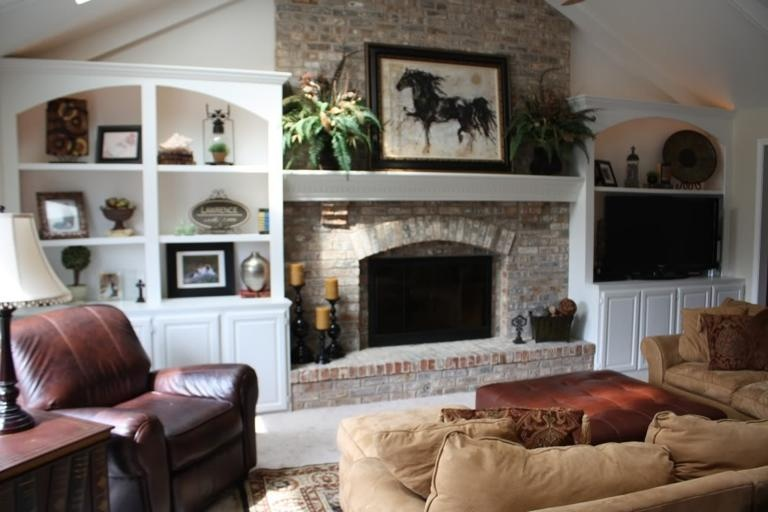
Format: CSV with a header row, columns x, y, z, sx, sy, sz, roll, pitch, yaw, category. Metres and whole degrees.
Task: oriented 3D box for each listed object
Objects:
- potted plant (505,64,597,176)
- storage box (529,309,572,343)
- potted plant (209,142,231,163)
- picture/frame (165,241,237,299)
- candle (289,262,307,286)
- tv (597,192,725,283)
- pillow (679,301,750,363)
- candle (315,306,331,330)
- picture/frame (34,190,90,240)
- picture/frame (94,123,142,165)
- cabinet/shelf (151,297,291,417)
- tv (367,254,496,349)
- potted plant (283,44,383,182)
x,y,z,sx,sy,sz,roll,pitch,yaw,category
1.735,-1.427,6.053,0.972,1.156,0.412,-3,1,-19,potted plant
1.737,0.739,6.098,0.526,0.333,0.276,0,0,-11,storage box
-1.470,-0.912,5.216,0.195,0.177,0.183,1,-9,-15,potted plant
-1.737,0.130,5.383,0.565,0.457,0.039,-2,-3,-19,picture/frame
-0.806,0.167,5.453,0.201,0.205,0.190,2,0,-10,candle
3.026,-0.226,6.466,1.156,0.728,0.151,0,2,-13,tv
2.784,0.617,4.907,0.605,0.519,0.181,3,-16,-4,pillow
-0.571,0.582,5.562,0.208,0.303,0.211,0,3,-8,candle
-2.796,-0.348,4.978,0.493,0.521,0.040,-6,-5,-24,picture/frame
-2.334,-0.972,5.081,0.455,0.348,0.046,0,-11,-8,picture/frame
-1.364,0.799,4.727,1.144,0.853,0.383,-2,4,-18,cabinet/shelf
0.434,0.467,6.086,1.062,0.651,0.043,-1,-1,-19,tv
-0.475,-1.308,5.761,1.121,1.273,1.143,1,4,-14,potted plant
